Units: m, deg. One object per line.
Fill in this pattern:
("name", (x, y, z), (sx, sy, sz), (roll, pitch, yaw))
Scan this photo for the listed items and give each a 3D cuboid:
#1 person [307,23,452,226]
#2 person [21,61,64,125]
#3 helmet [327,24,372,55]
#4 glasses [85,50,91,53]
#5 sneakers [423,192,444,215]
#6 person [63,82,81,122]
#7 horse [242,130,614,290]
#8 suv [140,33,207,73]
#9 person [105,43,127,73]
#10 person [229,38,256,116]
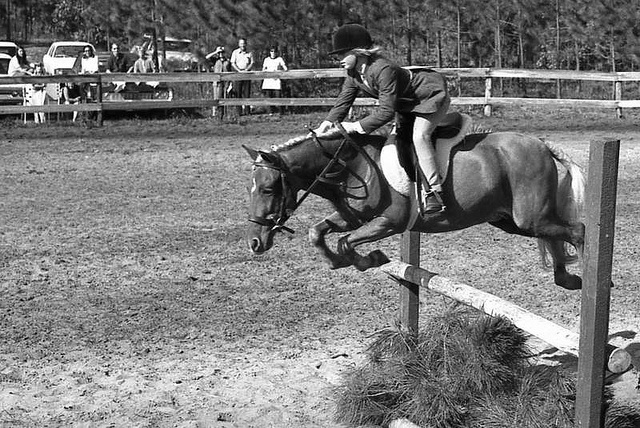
("person", (0.564, -0.784, 5.389), (1.001, 1.557, 0.563), (-3, 10, 10))
("person", (-7.118, -3.127, 16.798), (0.698, 1.587, 0.920), (-8, 0, -27))
("helmet", (0.228, -1.437, 5.309), (0.412, 0.203, 0.284), (-11, 16, -12))
("glasses", (-6.359, -4.450, 17.844), (0.114, 0.062, 0.106), (-1, 3, -9))
("sneakers", (0.944, -0.108, 5.269), (0.249, 0.173, 0.125), (-14, 13, -43))
("person", (-6.240, -2.832, 16.493), (0.443, 0.933, 0.839), (-9, 11, -21))
("horse", (0.916, -0.034, 5.715), (3.278, 1.228, 0.736), (-1, 4, -18))
("suv", (-5.716, -6.827, 26.215), (1.627, 1.092, 2.533), (-4, 50, -21))
("person", (-5.353, -4.028, 17.216), (0.707, 0.838, 0.578), (-11, 12, -22))
("person", (-2.026, -3.664, 17.294), (0.627, 2.019, 1.203), (-6, 10, -6))
